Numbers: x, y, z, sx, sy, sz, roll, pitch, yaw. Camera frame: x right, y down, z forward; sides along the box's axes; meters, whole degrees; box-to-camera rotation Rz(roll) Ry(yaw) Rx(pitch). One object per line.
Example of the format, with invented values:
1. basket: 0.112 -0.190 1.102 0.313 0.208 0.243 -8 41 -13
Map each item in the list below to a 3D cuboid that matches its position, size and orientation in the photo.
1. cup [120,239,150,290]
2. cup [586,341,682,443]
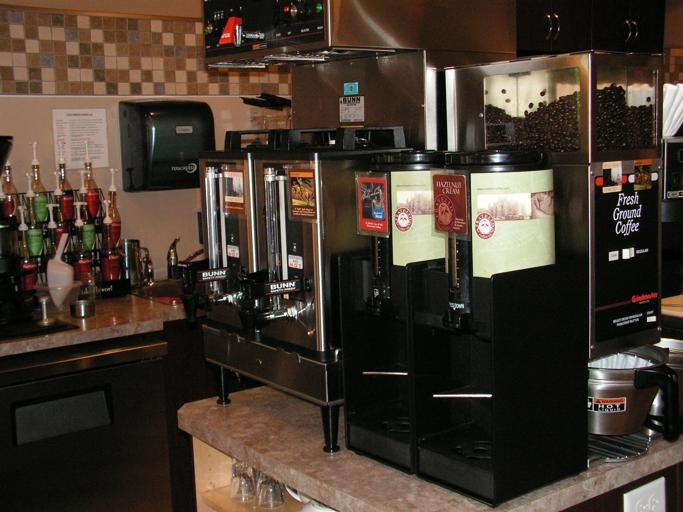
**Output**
1. cup: -1.025 0.037 2.928 0.100 0.247 0.253 -3 11 2
2. cup: 0.615 0.299 1.348 0.164 0.174 0.244 -4 8 -27
